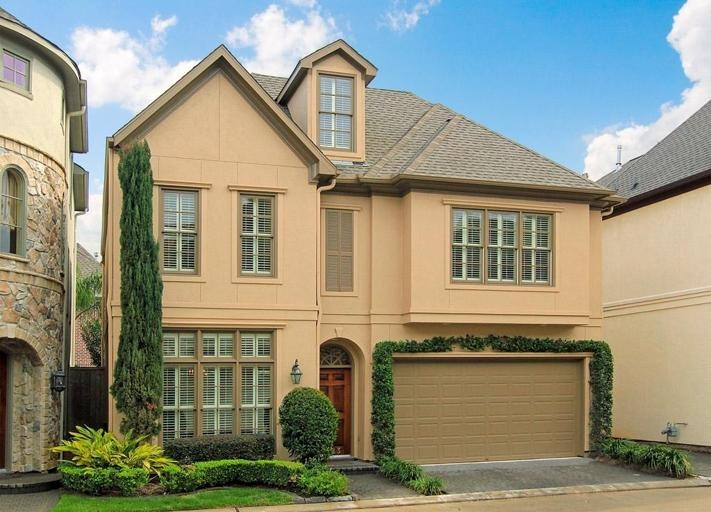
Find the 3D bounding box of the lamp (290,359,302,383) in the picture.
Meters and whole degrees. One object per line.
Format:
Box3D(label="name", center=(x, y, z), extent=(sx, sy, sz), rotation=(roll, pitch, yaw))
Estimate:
Box3D(label="lamp", center=(-1.840, 3.600, 26.476), extent=(0.395, 0.800, 0.298), rotation=(1, -11, -8))
